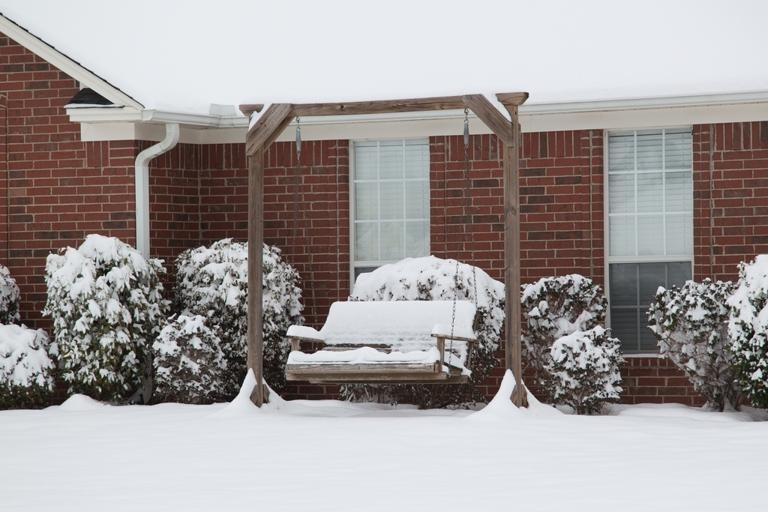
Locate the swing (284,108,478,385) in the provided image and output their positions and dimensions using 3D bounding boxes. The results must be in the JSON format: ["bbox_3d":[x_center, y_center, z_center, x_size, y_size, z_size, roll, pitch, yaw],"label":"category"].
[{"bbox_3d":[0.034,-0.087,20.030,2.432,4.176,1.104,-1,3,17],"label":"swing"}]
